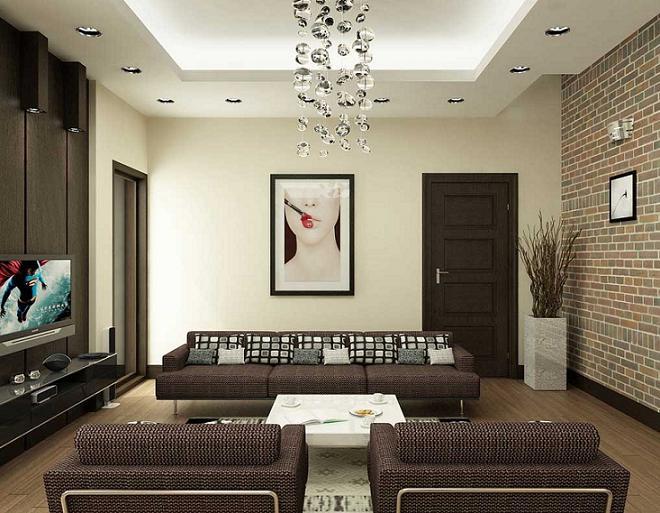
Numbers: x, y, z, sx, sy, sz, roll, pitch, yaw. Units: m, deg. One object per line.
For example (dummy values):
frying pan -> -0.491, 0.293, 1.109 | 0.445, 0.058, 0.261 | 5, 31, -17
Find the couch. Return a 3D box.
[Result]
couch -> -0.133, 1.288, 5.175 | 3.270, 0.849, 0.760 | -1, 3, 0

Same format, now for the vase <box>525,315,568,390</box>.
vase -> 2.697, 1.184, 5.889 | 0.459, 0.889, 0.279 | 0, 4, 22

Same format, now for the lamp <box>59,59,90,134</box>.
lamp -> -2.578, -1.614, 4.807 | 0.181, 0.694, 0.227 | -1, 3, 6
